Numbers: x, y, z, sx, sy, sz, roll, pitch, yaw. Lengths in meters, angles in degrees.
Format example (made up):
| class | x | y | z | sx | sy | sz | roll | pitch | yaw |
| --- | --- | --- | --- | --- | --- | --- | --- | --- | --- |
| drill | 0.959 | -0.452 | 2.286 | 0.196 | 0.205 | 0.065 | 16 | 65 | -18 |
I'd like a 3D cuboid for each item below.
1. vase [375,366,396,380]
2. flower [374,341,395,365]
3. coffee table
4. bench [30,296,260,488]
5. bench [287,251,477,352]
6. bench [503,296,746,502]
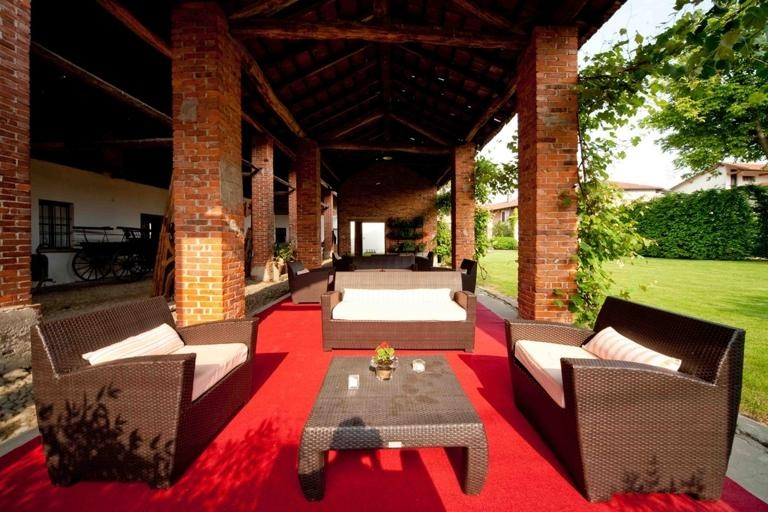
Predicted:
| class | x | y | z | sx | sy | sz | roll | pitch | yaw |
| --- | --- | --- | --- | --- | --- | --- | --- | --- | --- |
| vase | 0.005 | 1.205 | 4.775 | 0.157 | 0.116 | 0.152 | 0 | 2 | -31 |
| flower | 0.022 | 1.049 | 4.853 | 0.260 | 0.103 | 0.285 | 0 | 4 | 12 |
| coffee table | 0.108 | 1.760 | 5.066 | 1.924 | 0.734 | 1.989 | -1 | 11 | 4 |
| bench | -2.453 | 1.343 | 4.675 | 1.900 | 1.645 | 0.972 | -1 | 5 | -6 |
| bench | 0.175 | 0.748 | 6.254 | 1.997 | 0.983 | 0.892 | 0 | 5 | -3 |
| bench | 2.624 | 1.502 | 5.448 | 1.641 | 1.646 | 2.432 | -1 | 3 | 1 |
